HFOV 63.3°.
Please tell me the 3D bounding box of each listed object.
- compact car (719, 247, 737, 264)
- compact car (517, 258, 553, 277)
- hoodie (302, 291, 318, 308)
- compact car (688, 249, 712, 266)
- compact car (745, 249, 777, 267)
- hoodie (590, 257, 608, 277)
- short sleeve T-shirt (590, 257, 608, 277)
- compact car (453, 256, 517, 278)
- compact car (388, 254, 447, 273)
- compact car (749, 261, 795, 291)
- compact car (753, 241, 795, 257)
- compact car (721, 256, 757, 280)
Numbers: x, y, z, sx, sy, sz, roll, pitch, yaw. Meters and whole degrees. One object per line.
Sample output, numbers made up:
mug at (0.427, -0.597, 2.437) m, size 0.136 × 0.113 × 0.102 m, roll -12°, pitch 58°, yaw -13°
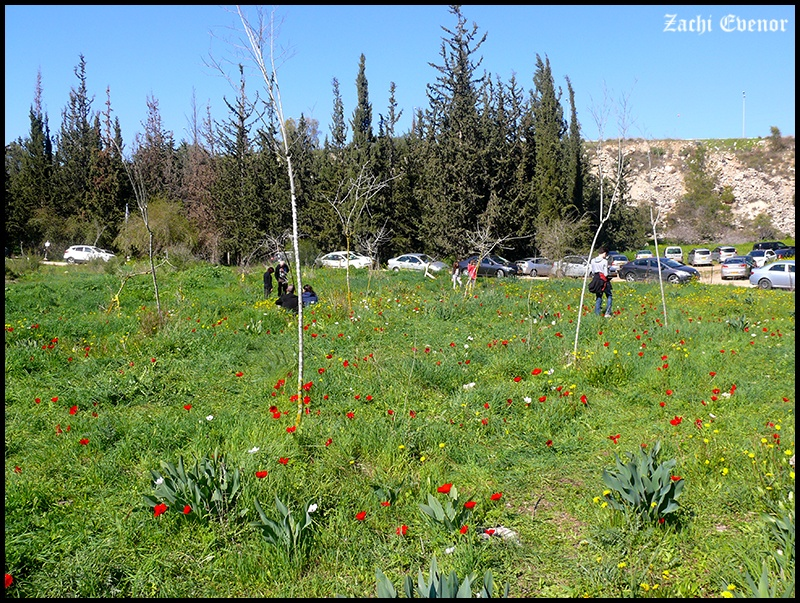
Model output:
compact car at (18.143, -2.571, 36.088) m, size 0.947 × 0.940 × 1.780 m, roll -1°, pitch 14°, yaw 18°
compact car at (6.570, -1.699, 31.776) m, size 1.815 × 0.728 × 0.877 m, roll -5°, pitch 14°, yaw -27°
hoodie at (-2.134, -0.066, 15.266) m, size 0.387 × 0.555 × 0.280 m, roll 2°, pitch 7°, yaw 6°
compact car at (17.769, -2.603, 38.584) m, size 0.919 × 0.914 × 1.781 m, roll 3°, pitch 12°, yaw 18°
compact car at (17.698, -2.131, 31.859) m, size 1.091 × 0.980 × 2.316 m, roll 1°, pitch 5°, yaw 43°
hoodie at (4.623, -0.813, 15.093) m, size 0.351 × 0.413 × 0.210 m, roll 13°, pitch 22°, yaw 35°
short sleeve T-shirt at (4.623, -0.813, 15.093) m, size 0.351 × 0.413 × 0.210 m, roll 13°, pitch 22°, yaw 35°
compact car at (3.964, -1.354, 29.834) m, size 2.572 × 1.055 × 1.269 m, roll 2°, pitch 7°, yaw 24°
compact car at (0.622, -1.835, 30.891) m, size 2.374 × 0.934 × 1.178 m, roll 2°, pitch 10°, yaw 24°
compact car at (14.047, -0.940, 24.531) m, size 2.308 × 0.980 × 1.099 m, roll -1°, pitch 6°, yaw 38°
compact car at (20.338, -2.843, 35.515) m, size 1.826 × 1.037 × 1.138 m, roll -13°, pitch 15°, yaw -18°
compact car at (14.928, -1.584, 28.829) m, size 0.766 × 0.650 × 1.793 m, roll 3°, pitch 15°, yaw 30°
